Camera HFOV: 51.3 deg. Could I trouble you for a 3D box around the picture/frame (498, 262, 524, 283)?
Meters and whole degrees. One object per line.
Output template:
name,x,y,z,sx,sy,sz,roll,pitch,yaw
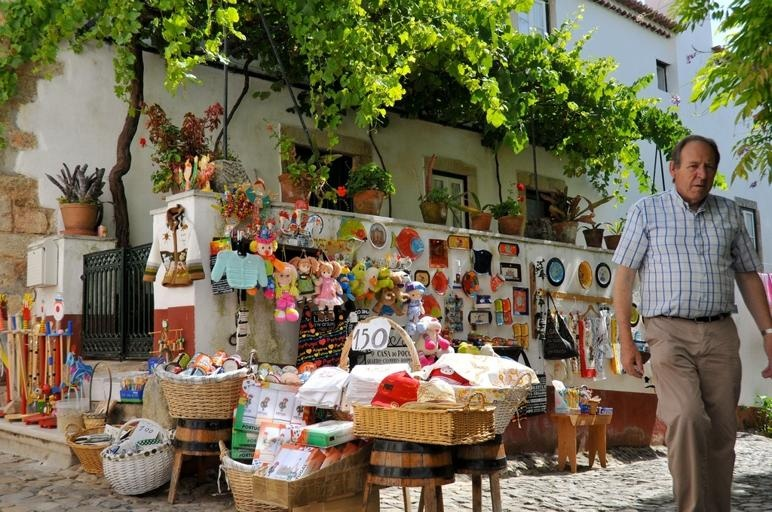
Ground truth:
picture/frame,1.688,0.210,10.902,0.433,0.263,0.046,9,-12,-40

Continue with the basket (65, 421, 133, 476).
basket,-3.046,1.978,8.473,0.614,0.421,0.632,1,-5,2

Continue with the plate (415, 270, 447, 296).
plate,0.584,0.315,10.071,0.312,0.319,0.053,-35,18,-30

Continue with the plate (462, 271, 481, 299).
plate,1.103,0.359,10.416,0.322,0.318,0.078,9,-13,-42

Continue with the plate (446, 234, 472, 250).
plate,0.955,-0.185,10.404,0.046,0.167,0.458,1,0,45

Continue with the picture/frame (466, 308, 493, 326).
picture/frame,1.230,0.794,10.466,0.095,0.228,0.442,-8,-13,43

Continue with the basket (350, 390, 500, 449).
basket,0.278,1.398,6.764,0.760,0.306,0.562,-6,-12,31

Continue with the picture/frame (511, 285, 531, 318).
picture/frame,1.817,0.623,10.916,0.400,0.467,0.054,6,-10,-44

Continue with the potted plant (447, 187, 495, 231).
potted plant,1.298,-0.638,11.834,0.624,0.600,0.502,-7,-1,19

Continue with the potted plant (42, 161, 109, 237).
potted plant,-4.144,-0.731,10.816,0.649,0.856,0.596,-2,-2,10

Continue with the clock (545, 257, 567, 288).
clock,2.417,0.232,11.466,0.068,0.417,0.469,-8,-13,42

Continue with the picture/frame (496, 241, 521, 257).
picture/frame,1.667,-0.095,10.927,0.432,0.204,0.026,8,-12,-38

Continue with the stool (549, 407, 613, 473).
stool,2.530,2.384,10.372,0.937,0.720,0.298,6,-9,-41

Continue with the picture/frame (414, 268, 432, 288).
picture/frame,0.439,0.271,9.865,0.017,0.190,0.217,-4,-9,40

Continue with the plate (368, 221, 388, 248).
plate,-0.094,-0.237,9.591,0.062,0.266,0.259,-4,5,37

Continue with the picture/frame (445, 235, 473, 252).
picture/frame,0.951,-0.180,10.386,0.052,0.167,0.494,1,-1,43

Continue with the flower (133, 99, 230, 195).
flower,-2.692,-1.316,10.298,0.765,0.816,0.549,5,0,-41

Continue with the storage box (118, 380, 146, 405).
storage box,-2.757,1.473,8.724,0.331,0.233,0.099,-6,-11,31

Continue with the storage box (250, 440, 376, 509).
storage box,-0.634,1.949,7.114,0.908,0.482,0.504,5,-6,-42

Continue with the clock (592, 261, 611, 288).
clock,3.263,0.285,12.105,0.103,0.358,0.348,-6,13,37

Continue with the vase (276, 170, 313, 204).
vase,-1.058,-0.786,9.422,0.370,0.289,0.381,0,-7,0

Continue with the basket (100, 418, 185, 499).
basket,-2.381,2.026,8.178,0.693,0.713,0.752,-2,-9,15

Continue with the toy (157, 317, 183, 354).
toy,-2.260,0.847,8.469,0.360,0.395,0.125,-2,-2,26

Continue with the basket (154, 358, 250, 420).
basket,-1.721,1.299,8.032,0.986,0.513,0.952,-4,4,42

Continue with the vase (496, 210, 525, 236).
vase,1.799,-0.428,11.761,0.372,0.281,0.359,9,-15,-44

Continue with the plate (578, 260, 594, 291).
plate,2.930,0.274,11.862,0.088,0.349,0.341,-7,26,47

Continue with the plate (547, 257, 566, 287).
plate,2.406,0.233,11.438,0.032,0.315,0.307,-11,25,47

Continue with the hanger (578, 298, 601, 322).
hanger,2.965,0.785,11.753,0.137,0.328,0.570,-7,-13,40

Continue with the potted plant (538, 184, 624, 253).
potted plant,2.889,-0.559,12.993,1.234,0.952,1.289,3,-4,-21

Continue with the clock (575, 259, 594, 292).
clock,2.945,0.288,11.882,0.079,0.418,0.333,-8,-13,44

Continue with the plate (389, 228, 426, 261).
plate,0.260,-0.168,9.863,0.411,0.396,0.100,-7,24,-23

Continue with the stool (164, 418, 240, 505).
stool,-1.607,2.026,7.972,0.709,0.975,0.776,0,-16,10

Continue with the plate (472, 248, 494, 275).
plate,1.256,0.071,10.574,0.326,0.345,0.182,3,-2,-9

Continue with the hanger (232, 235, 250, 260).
hanger,-1.518,-0.104,8.456,0.216,0.210,0.071,7,-11,-36

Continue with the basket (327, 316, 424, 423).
basket,-0.121,1.041,7.525,0.904,0.936,0.669,-3,-17,6

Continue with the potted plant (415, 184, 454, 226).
potted plant,0.685,-0.636,11.237,0.433,0.496,0.437,8,-11,-9

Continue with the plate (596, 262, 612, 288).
plate,3.273,0.278,12.118,0.098,0.346,0.337,-8,3,42

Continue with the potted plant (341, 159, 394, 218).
potted plant,-0.199,-0.802,10.264,0.603,0.635,0.628,-1,-14,8
